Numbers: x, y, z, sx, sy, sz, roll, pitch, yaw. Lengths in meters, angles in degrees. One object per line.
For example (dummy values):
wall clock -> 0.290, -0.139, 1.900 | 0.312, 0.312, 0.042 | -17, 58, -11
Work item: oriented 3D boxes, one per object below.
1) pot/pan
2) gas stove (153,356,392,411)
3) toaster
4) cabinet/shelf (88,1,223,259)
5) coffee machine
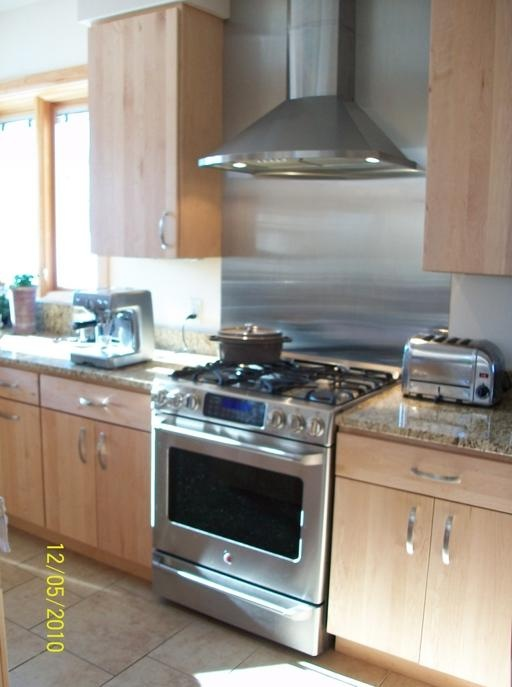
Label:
pot/pan -> -0.027, -0.023, 2.154 | 0.221, 0.153, 0.244 | 9, 14, 39
gas stove -> 0.110, 0.044, 2.057 | 0.857, 0.118, 0.665 | 6, 9, 28
toaster -> 0.607, 0.080, 1.764 | 0.276, 0.193, 0.191 | 5, 7, 35
cabinet/shelf -> -0.437, -0.868, 2.414 | 0.598, 1.014, 0.374 | 0, 6, -4
coffee machine -> -0.621, -0.106, 2.447 | 0.333, 0.376, 0.320 | 9, 11, 42
